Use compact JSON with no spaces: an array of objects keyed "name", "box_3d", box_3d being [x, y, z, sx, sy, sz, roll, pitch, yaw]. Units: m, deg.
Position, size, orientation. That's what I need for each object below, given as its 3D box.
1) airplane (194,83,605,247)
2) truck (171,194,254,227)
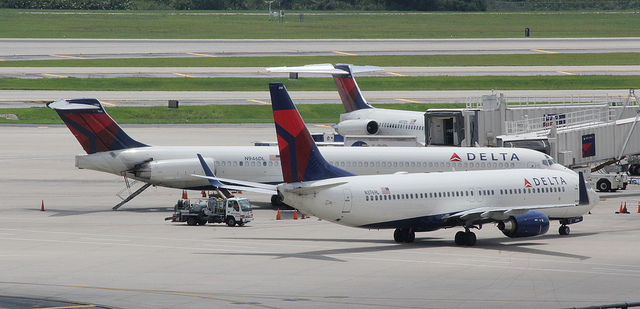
[{"name":"airplane","box_3d":[21.174,6.346,181.603,49.430,11.249,38.121,-3,5,-26]},{"name":"truck","box_3d":[-15.797,9.190,185.866,14.936,3.369,4.966,0,3,5]}]
